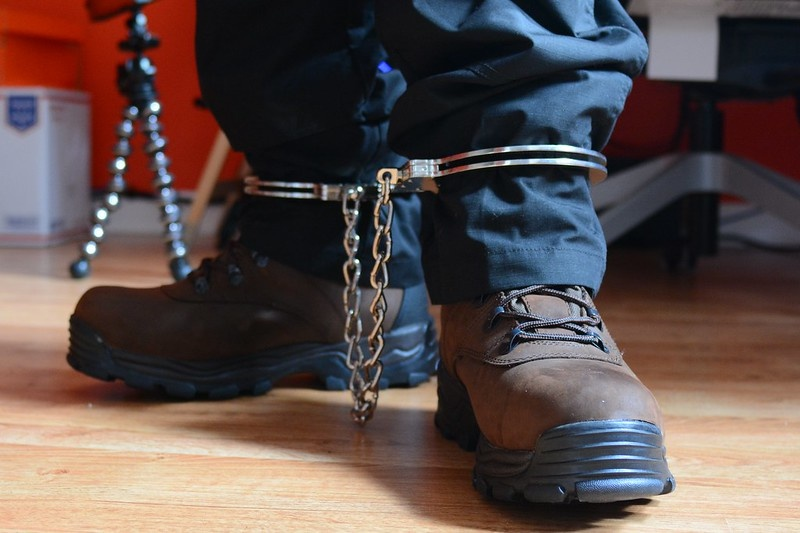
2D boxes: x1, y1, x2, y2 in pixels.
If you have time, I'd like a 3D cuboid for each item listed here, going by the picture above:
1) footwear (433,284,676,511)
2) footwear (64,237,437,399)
[{"bbox_3d":[0.192,0.149,1.071,0.214,0.250,0.275,1,7,-17],"label":"footwear"},{"bbox_3d":[-0.252,0.060,1.400,0.661,0.249,0.229,2,4,-33],"label":"footwear"}]
